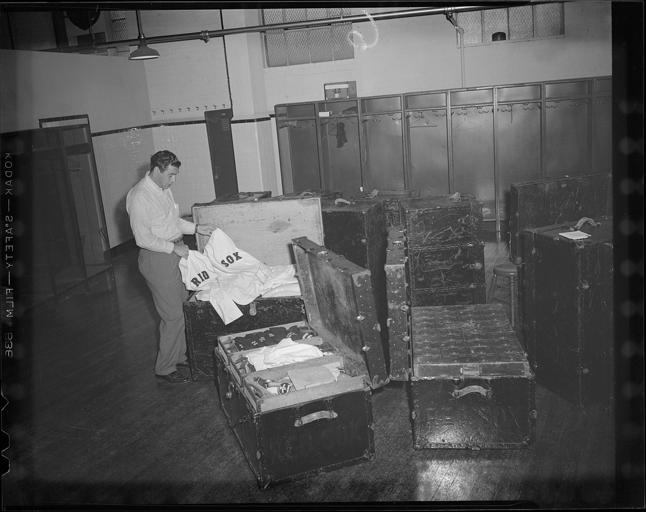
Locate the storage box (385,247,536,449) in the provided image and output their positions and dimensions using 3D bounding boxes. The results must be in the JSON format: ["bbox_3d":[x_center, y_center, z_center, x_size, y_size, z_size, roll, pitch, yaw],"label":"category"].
[{"bbox_3d":[0.777,0.648,2.932,0.610,0.603,0.618,-5,12,9],"label":"storage box"}]

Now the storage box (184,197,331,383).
[{"bbox_3d":[-0.439,0.172,3.770,1.075,1.109,1.122,-3,12,2],"label":"storage box"}]

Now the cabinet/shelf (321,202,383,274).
[{"bbox_3d":[0.207,-0.155,4.195,0.433,0.534,0.575,1,19,9],"label":"cabinet/shelf"}]

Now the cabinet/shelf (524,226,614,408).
[{"bbox_3d":[1.519,0.308,3.110,0.580,0.861,0.556,-2,3,1],"label":"cabinet/shelf"}]

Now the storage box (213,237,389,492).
[{"bbox_3d":[-0.123,0.527,2.848,0.860,1.066,0.750,-9,12,-12],"label":"storage box"}]

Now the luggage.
[{"bbox_3d":[0.520,0.503,3.039,1.807,1.124,1.785,-5,14,1],"label":"luggage"}]
